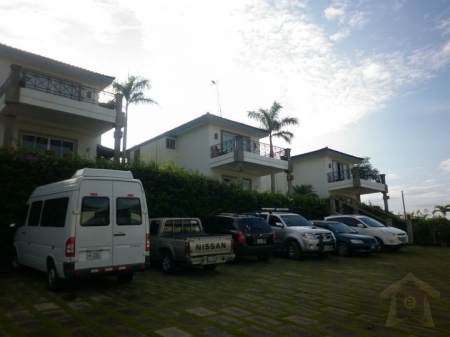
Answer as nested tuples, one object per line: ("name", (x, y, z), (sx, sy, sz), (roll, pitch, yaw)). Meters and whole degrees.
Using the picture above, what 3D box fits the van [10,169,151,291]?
("van", (-4.514, 1.798, 9.849), (3.918, 3.376, 1.729), (-6, -11, 23))

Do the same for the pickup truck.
("pickup truck", (-1.536, 2.652, 11.906), (1.751, 1.350, 3.143), (6, -6, -36))
